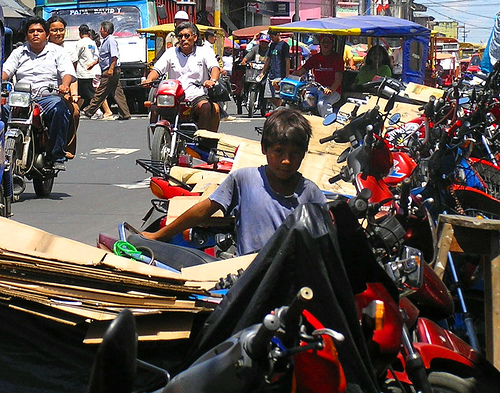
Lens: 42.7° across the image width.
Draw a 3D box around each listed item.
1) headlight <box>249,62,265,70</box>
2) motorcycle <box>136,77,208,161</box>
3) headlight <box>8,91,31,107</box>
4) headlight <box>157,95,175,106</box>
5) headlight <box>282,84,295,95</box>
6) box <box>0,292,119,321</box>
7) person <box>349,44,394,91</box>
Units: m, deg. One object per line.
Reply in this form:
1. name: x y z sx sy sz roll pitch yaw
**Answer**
1. headlight: 0.181 -3.649 17.940 0.500 0.174 0.466 7 15 16
2. motorcycle: -1.090 -1.049 8.633 0.702 0.880 1.392 -2 5 6
3. headlight: -2.675 -1.115 7.354 0.259 0.258 0.153 3 6 0
4. headlight: -1.127 -1.273 8.486 0.214 0.166 0.126 1 -1 2
5. headlight: 0.739 -2.044 12.211 0.048 0.196 0.344 -9 18 -40
6. box: -0.735 0.424 2.503 0.478 0.041 0.061 13 -25 8
7. person: 2.561 -2.659 13.233 0.780 0.947 0.794 7 14 18
